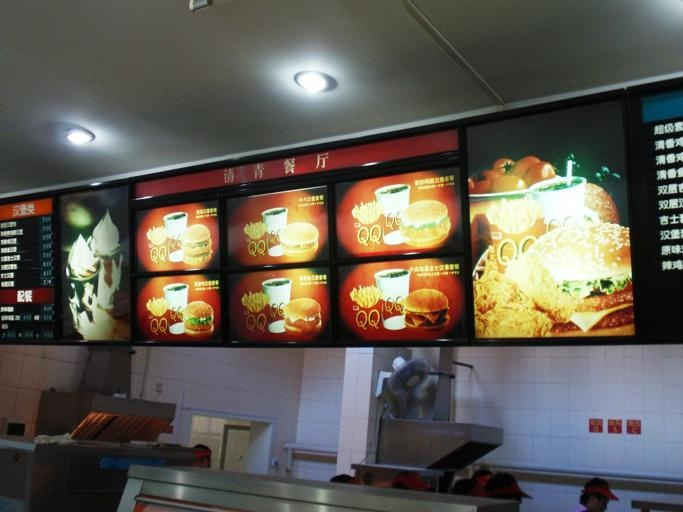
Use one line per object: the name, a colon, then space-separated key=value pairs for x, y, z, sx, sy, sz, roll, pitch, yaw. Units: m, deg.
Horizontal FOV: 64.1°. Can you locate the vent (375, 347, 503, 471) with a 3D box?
vent: x=0.885 y=1.645 z=5.694 sx=0.729 sy=1.407 sz=1.371 roll=-4 pitch=-11 yaw=37
